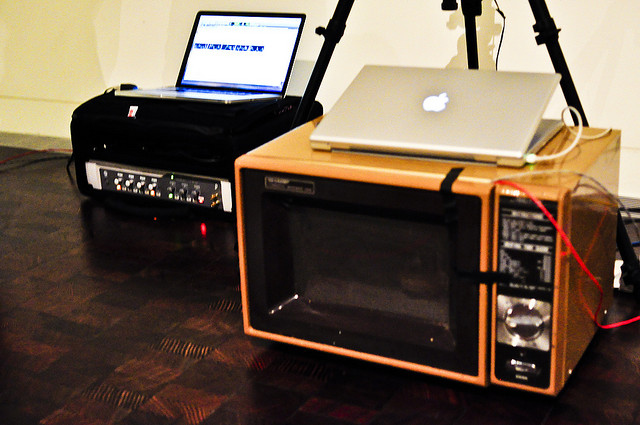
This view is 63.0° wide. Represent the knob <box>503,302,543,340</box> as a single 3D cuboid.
[{"bbox_3d":[0.401,0.214,1.037,0.072,0.076,0.019,7,29,11],"label":"knob"}]

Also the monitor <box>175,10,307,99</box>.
[{"bbox_3d":[-0.254,-0.630,2.053,0.506,0.369,0.306,8,28,19],"label":"monitor"}]

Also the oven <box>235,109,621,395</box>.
[{"bbox_3d":[0.274,0.097,1.300,0.720,0.422,0.552,5,12,32],"label":"oven"}]

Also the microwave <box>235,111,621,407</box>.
[{"bbox_3d":[0.288,0.058,1.342,0.777,0.435,0.586,8,18,37],"label":"microwave"}]

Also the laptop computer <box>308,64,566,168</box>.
[{"bbox_3d":[0.247,-0.219,1.147,0.476,0.159,0.243,11,30,19],"label":"laptop computer"}]

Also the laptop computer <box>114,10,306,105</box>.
[{"bbox_3d":[-0.353,-0.569,1.895,0.539,0.268,0.453,12,30,21],"label":"laptop computer"}]
